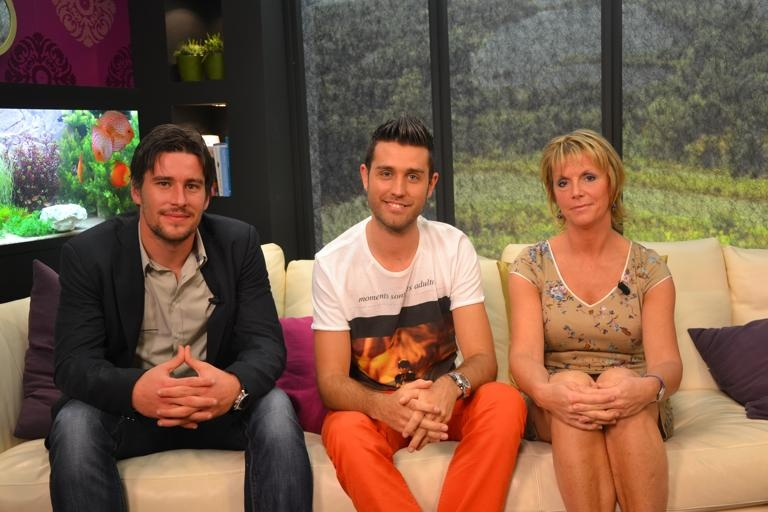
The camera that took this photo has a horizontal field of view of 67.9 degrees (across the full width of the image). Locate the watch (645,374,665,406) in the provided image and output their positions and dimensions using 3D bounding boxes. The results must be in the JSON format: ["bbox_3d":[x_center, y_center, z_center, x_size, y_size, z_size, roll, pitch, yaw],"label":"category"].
[{"bbox_3d":[1.122,0.566,2.387,0.039,0.109,0.091,4,-14,-31],"label":"watch"}]

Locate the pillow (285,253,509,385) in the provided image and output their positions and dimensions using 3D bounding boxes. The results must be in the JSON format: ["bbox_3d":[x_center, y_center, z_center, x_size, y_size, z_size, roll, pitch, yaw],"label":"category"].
[{"bbox_3d":[0.074,0.553,3.166,1.057,0.998,0.632,0,-3,-3],"label":"pillow"}]

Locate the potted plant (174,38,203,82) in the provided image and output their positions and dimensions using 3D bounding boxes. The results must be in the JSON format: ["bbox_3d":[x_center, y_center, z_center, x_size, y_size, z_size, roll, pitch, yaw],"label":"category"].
[{"bbox_3d":[-1.609,-1.621,4.800,0.243,0.287,0.107,-2,7,-6],"label":"potted plant"}]

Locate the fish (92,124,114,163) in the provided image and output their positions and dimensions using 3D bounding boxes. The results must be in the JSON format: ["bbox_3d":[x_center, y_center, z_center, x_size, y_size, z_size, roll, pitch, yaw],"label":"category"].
[{"bbox_3d":[-2.292,-0.944,4.706,0.090,0.254,0.185,7,10,39],"label":"fish"}]

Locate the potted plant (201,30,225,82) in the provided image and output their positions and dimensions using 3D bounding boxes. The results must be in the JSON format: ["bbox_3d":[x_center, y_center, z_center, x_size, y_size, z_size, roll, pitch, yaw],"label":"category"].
[{"bbox_3d":[-1.395,-1.653,4.742,0.146,0.382,0.233,-5,8,-22],"label":"potted plant"}]

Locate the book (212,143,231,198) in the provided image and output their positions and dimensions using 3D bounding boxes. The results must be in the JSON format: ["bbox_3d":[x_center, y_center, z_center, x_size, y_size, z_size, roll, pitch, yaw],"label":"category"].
[{"bbox_3d":[-1.317,-0.721,4.809,0.090,0.405,0.280,-3,9,-12],"label":"book"}]

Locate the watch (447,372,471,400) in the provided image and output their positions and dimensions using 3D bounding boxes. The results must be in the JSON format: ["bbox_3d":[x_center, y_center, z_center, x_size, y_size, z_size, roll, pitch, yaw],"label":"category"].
[{"bbox_3d":[0.328,0.538,2.404,0.040,0.095,0.103,-27,24,-8],"label":"watch"}]
